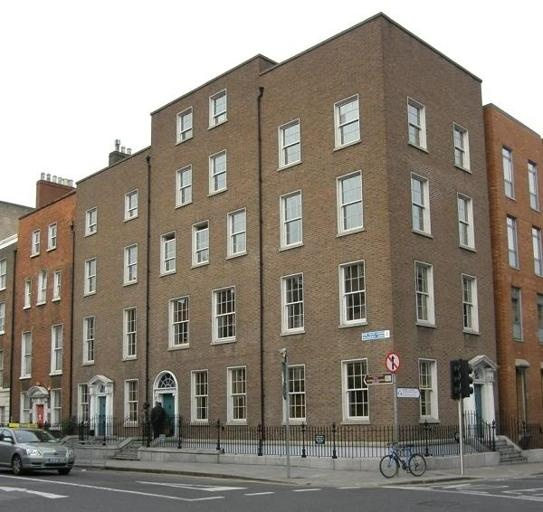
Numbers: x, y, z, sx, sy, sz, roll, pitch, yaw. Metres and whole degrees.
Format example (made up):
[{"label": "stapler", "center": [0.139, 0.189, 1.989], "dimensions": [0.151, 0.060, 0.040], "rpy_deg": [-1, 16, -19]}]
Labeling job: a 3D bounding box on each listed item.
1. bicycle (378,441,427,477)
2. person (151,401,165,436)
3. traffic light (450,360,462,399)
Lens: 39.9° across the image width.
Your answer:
[{"label": "bicycle", "center": [3.881, 6.024, 21.832], "dimensions": [1.591, 0.947, 0.724], "rpy_deg": [16, -25, -40]}, {"label": "person", "center": [-5.090, 7.308, 33.315], "dimensions": [0.570, 1.635, 0.885], "rpy_deg": [1, -19, -9]}, {"label": "traffic light", "center": [5.674, 3.799, 22.889], "dimensions": [0.234, 1.168, 0.327], "rpy_deg": [2, -6, -15]}]
